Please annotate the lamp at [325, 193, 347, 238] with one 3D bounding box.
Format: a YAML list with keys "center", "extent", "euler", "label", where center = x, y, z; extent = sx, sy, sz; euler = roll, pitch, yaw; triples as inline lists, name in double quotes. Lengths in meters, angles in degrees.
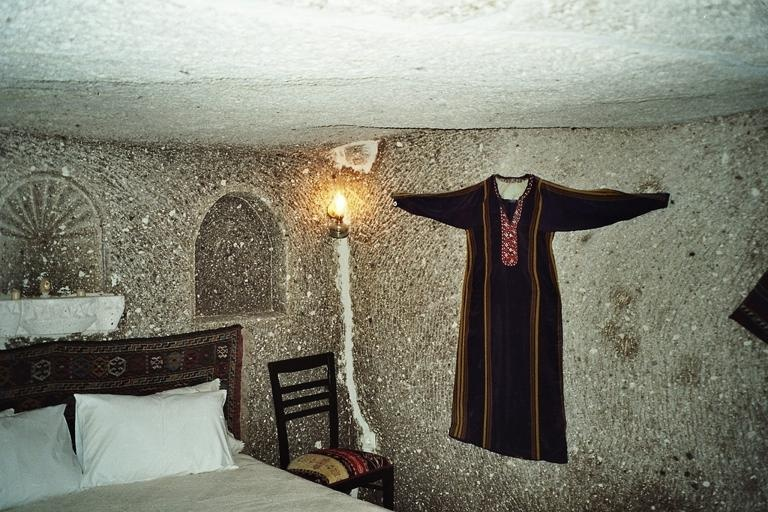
- center: [-0.329, -0.306, 4.802]
  extent: [0.158, 0.342, 0.236]
  euler: [-1, -4, -5]
  label: "lamp"

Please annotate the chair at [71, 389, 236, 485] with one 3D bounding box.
- center: [-1.298, 1.017, 3.805]
  extent: [0.923, 0.475, 0.265]
  euler: [2, -15, -31]
  label: "chair"

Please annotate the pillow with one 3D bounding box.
- center: [-1.123, 1.023, 4.062]
  extent: [0.142, 0.429, 0.480]
  euler: [-32, -14, 31]
  label: "pillow"
